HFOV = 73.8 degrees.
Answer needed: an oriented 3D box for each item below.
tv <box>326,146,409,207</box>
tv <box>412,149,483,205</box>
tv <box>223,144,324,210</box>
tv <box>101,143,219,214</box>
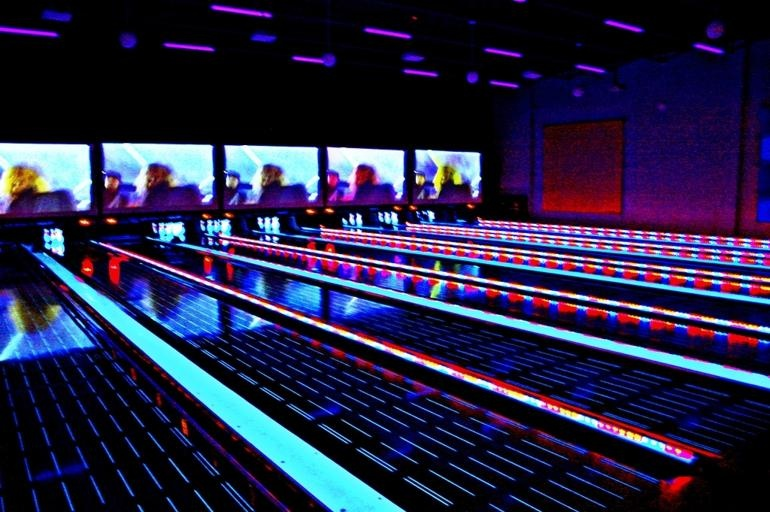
[{"bbox_3d":[-0.376,-1.410,9.268,1.278,0.749,0.046,-1,3,-28],"label":"tv"},{"bbox_3d":[1.262,-1.515,10.120,1.657,1.030,0.162,-8,15,-30],"label":"tv"},{"bbox_3d":[-1.900,-1.281,8.495,1.264,0.705,0.045,-1,5,-22],"label":"tv"},{"bbox_3d":[-3.408,-1.130,7.646,1.219,0.716,0.043,-3,11,-30],"label":"tv"}]
